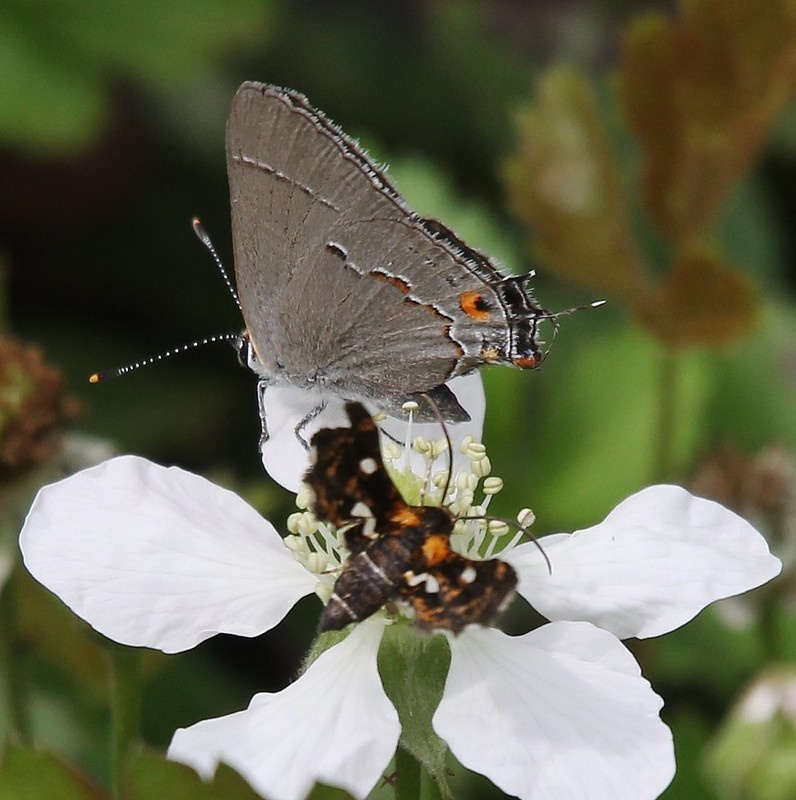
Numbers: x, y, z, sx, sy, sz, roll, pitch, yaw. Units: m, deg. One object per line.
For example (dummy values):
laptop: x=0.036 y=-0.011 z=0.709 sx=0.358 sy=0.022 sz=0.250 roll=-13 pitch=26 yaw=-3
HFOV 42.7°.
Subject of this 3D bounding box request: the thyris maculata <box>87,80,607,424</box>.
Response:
thyris maculata: x=-0.049 y=-0.150 z=1.269 sx=0.497 sy=0.407 sz=0.297 roll=-9 pitch=93 yaw=2
